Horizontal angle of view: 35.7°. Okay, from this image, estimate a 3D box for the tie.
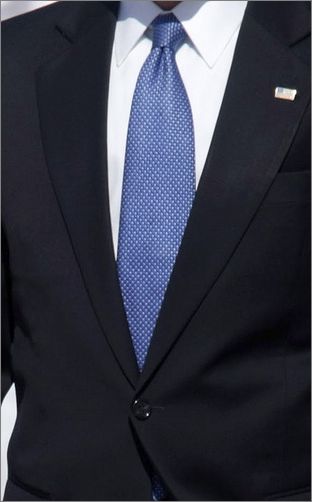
[{"bbox_3d":[0.000,-0.120,0.871,0.107,0.650,0.068,2,-21,-2],"label":"tie"}]
